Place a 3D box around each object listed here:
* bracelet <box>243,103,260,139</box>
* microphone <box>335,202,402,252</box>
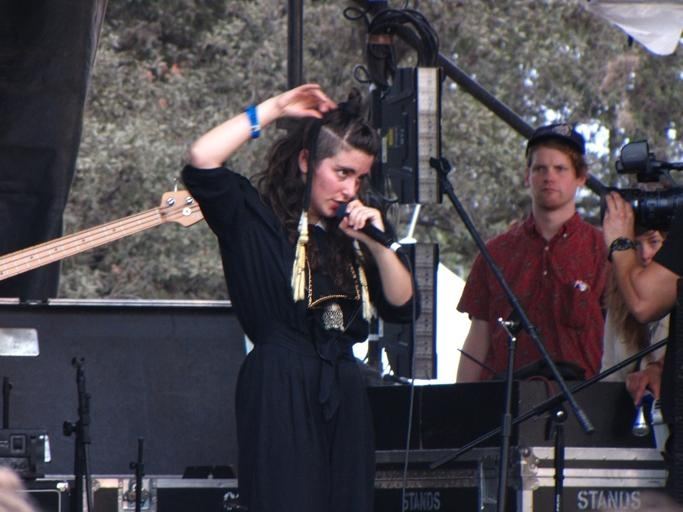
[{"bbox_3d":[-0.581,-0.873,14.609,0.053,0.176,0.148,-10,-9,6],"label":"bracelet"},{"bbox_3d":[0.142,-0.167,14.646,0.378,0.102,0.104,35,-57,-2],"label":"microphone"}]
